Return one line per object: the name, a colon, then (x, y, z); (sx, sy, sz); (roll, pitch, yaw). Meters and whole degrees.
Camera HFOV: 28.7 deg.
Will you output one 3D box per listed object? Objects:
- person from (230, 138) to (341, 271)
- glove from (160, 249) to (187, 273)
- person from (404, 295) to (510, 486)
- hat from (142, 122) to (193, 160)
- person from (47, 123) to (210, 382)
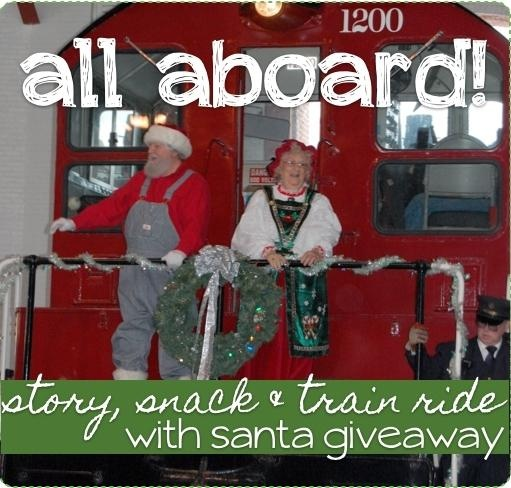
person: (0.187, -0.250, 5.939); (0.653, 0.767, 0.682); (3, -2, 3)
glove: (-0.468, 0.088, 5.650); (0.131, 0.117, 0.122); (2, -2, 12)
person: (1.185, 0.837, 5.723); (0.738, 1.093, 0.554); (4, -2, -22)
hat: (-0.565, -0.639, 6.225); (0.208, 0.135, 0.240); (26, 3, -41)
person: (-0.654, 0.030, 6.064); (0.938, 1.554, 0.630); (2, -2, 30)
